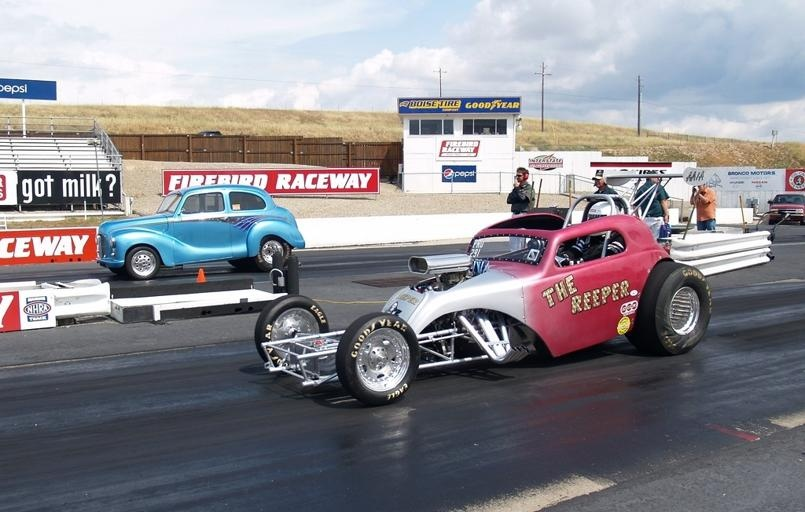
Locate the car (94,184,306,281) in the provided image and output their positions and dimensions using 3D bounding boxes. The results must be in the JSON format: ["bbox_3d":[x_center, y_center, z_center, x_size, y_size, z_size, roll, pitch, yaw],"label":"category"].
[{"bbox_3d":[-5.399,-0.664,18.175,5.299,2.183,2.908,-1,1,-21],"label":"car"}]

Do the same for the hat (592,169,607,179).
[{"bbox_3d":[4.350,-1.819,14.635,0.249,0.198,0.413,3,8,33],"label":"hat"}]

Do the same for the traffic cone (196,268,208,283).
[{"bbox_3d":[-5.062,0.508,16.760,0.212,0.228,0.223,29,37,35],"label":"traffic cone"}]

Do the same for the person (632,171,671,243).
[{"bbox_3d":[5.039,-1.024,13.504,0.827,1.758,1.525,0,1,7],"label":"person"}]

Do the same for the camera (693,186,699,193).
[{"bbox_3d":[8.154,-1.861,18.423,0.158,0.150,0.246,-5,11,15],"label":"camera"}]
